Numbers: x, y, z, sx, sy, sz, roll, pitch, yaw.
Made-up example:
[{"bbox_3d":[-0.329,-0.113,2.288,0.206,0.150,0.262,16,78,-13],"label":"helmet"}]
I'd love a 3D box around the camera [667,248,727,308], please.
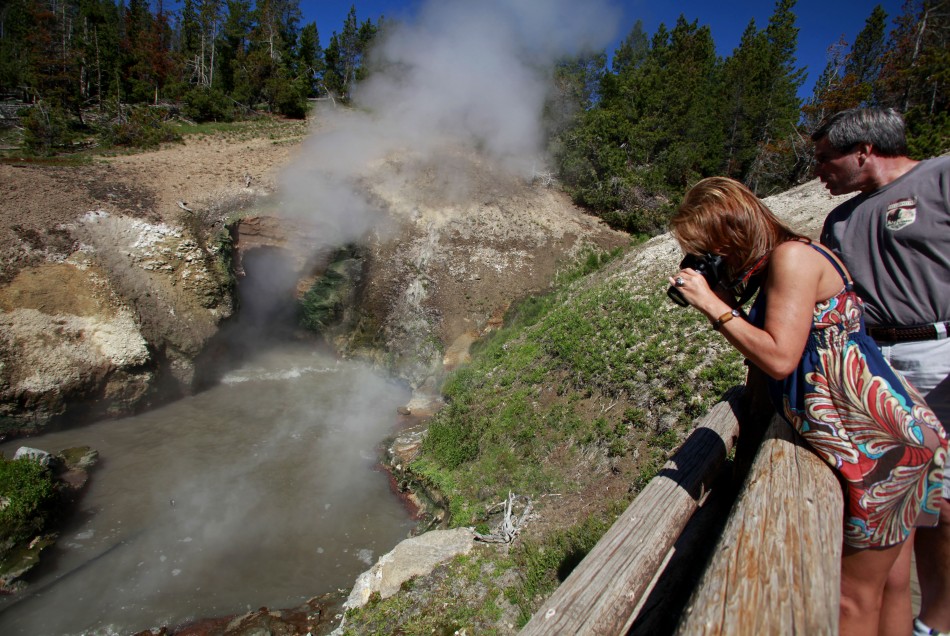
[{"bbox_3d":[1.596,-0.341,3.691,0.376,0.389,0.144,43,19,27],"label":"camera"}]
